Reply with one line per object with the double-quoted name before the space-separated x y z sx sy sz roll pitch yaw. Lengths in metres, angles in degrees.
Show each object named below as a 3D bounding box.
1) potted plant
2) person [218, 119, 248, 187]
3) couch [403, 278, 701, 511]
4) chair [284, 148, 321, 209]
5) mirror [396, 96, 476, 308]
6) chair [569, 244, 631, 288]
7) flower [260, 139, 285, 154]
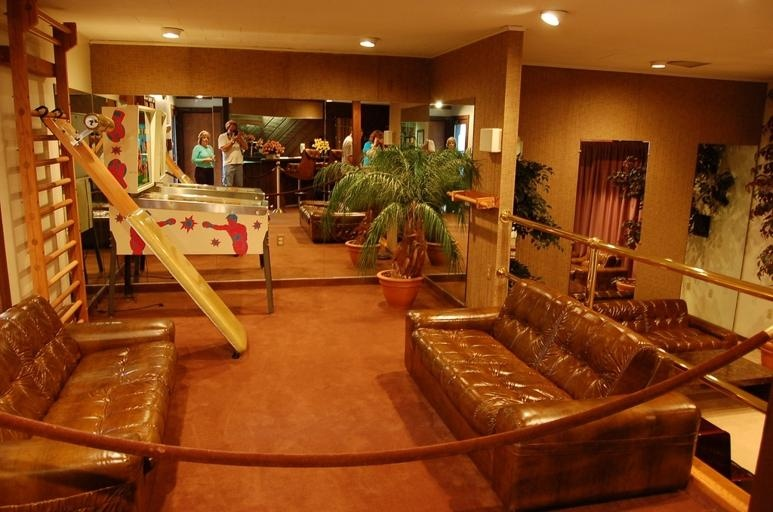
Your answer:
"potted plant" 0.124 -0.485 6.364 1.638 1.229 1.683 8 16 32
"person" -1.997 -1.245 6.823 0.334 0.985 0.342 25 32 37
"couch" 1.095 0.900 3.839 1.271 1.039 1.788 -2 15 -24
"chair" -1.181 -1.118 7.098 0.428 0.633 0.460 7 13 11
"mirror" 0.628 -0.581 6.277 0.215 3.097 2.219 -1 11 -16
"chair" 3.510 0.207 8.451 0.520 0.568 0.753 2 12 -7
"flower" -1.499 -1.430 6.878 0.212 0.139 0.216 0 10 -9
